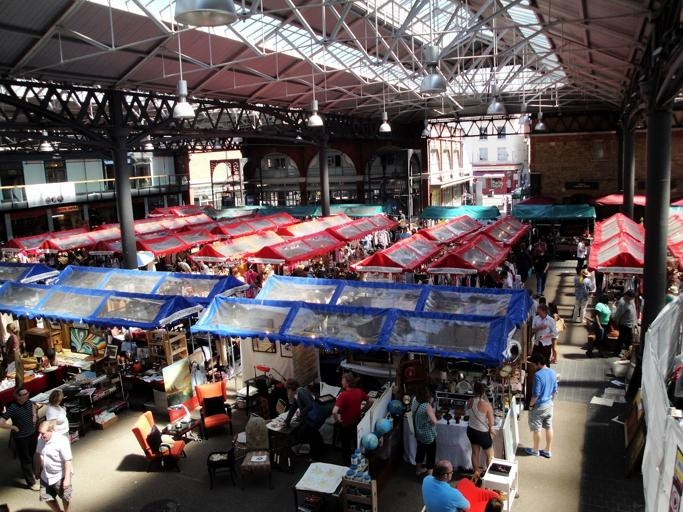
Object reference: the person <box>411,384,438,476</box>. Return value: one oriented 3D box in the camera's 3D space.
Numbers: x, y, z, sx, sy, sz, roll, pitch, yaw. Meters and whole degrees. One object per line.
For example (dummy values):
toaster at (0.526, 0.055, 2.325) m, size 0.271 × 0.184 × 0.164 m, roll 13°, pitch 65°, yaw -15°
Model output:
person at (1.321, 2.826, 8.145) m, size 0.378 × 1.583 × 0.506 m, roll 0°, pitch 6°, yaw 7°

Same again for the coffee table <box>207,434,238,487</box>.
coffee table at (-1.971, 3.515, 8.826) m, size 0.706 × 0.918 × 0.640 m, roll 1°, pitch -2°, yaw -13°

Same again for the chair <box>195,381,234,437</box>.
chair at (-2.376, 2.933, 9.672) m, size 0.611 × 1.054 × 0.448 m, roll -3°, pitch 7°, yaw -22°

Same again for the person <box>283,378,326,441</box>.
person at (-0.608, 2.806, 8.968) m, size 0.816 × 1.104 × 0.553 m, roll -9°, pitch -4°, yaw 17°

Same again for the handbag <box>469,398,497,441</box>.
handbag at (2.137, 2.471, 7.818) m, size 0.334 × 0.552 × 0.179 m, roll 2°, pitch 7°, yaw 23°

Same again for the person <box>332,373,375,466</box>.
person at (0.193, 2.735, 8.488) m, size 0.618 × 1.498 × 0.882 m, roll 0°, pitch 6°, yaw 2°

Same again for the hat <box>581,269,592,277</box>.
hat at (6.916, 0.505, 14.477) m, size 0.286 × 0.127 × 0.377 m, roll -2°, pitch -2°, yaw 10°

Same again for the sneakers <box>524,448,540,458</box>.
sneakers at (3.248, 3.353, 8.690) m, size 0.218 × 0.077 × 0.127 m, roll 5°, pitch 7°, yaw 39°

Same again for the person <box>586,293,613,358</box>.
person at (6.353, 1.621, 12.567) m, size 0.500 × 1.457 × 1.473 m, roll 3°, pitch 6°, yaw 28°

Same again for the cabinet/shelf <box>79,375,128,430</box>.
cabinet/shelf at (-4.880, 3.042, 10.444) m, size 0.353 × 0.814 × 0.948 m, roll 1°, pitch 6°, yaw 23°

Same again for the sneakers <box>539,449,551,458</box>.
sneakers at (3.436, 3.373, 8.670) m, size 0.084 × 0.076 × 0.205 m, roll -8°, pitch 8°, yaw -31°

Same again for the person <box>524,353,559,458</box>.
person at (3.398, 2.478, 8.642) m, size 0.388 × 1.837 × 0.971 m, roll 2°, pitch 7°, yaw 21°

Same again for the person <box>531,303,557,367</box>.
person at (4.732, 1.825, 11.716) m, size 0.636 × 1.401 × 0.516 m, roll 0°, pitch 12°, yaw 15°

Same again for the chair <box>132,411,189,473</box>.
chair at (-3.148, 3.205, 8.929) m, size 0.772 × 1.015 × 0.497 m, roll -2°, pitch 6°, yaw -13°

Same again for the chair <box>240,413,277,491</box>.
chair at (-1.386, 3.188, 8.399) m, size 0.520 × 1.142 × 0.481 m, roll -1°, pitch 6°, yaw -8°

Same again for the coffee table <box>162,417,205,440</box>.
coffee table at (-2.963, 3.289, 9.605) m, size 0.413 × 0.246 × 0.532 m, roll 3°, pitch 5°, yaw 17°

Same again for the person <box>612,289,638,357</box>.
person at (6.508, 1.571, 11.755) m, size 0.443 × 1.620 × 0.720 m, roll 3°, pitch 7°, yaw 28°
